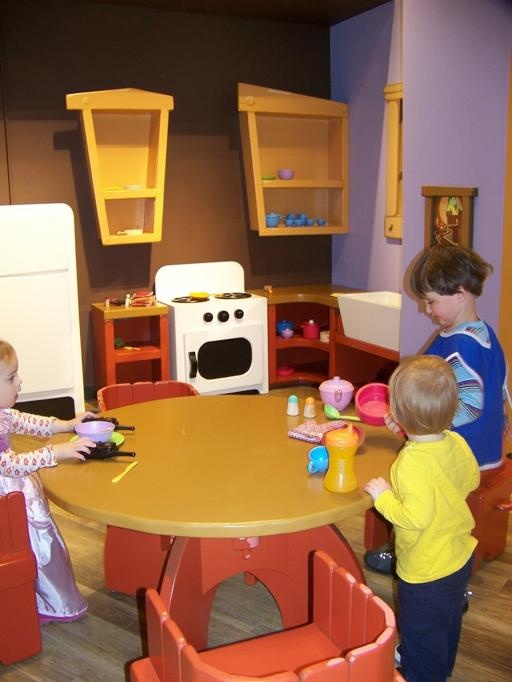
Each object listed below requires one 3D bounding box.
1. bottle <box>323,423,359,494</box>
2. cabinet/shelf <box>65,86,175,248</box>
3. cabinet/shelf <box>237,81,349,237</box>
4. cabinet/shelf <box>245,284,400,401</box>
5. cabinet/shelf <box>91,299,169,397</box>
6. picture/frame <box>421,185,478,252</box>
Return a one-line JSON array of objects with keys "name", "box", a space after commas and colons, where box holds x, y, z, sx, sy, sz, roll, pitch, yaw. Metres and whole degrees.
[{"name": "bottle", "box": [0.170, 0.237, 1.161, 0.070, 0.119, 0.108, -2, 12, 7]}, {"name": "cabinet/shelf", "box": [-0.837, -1.083, 3.690, 0.604, 0.937, 0.415, -8, 13, -18]}, {"name": "cabinet/shelf", "box": [0.250, -1.349, 4.192, 1.147, 1.219, 0.360, -6, 17, -17]}, {"name": "cabinet/shelf", "box": [0.410, 0.019, 4.156, 0.867, 0.609, 0.850, -6, 11, -26]}, {"name": "cabinet/shelf", "box": [-0.792, 0.102, 3.800, 0.432, 0.571, 0.417, -5, 6, -16]}, {"name": "picture/frame", "box": [0.690, -0.438, 2.044, 0.239, 0.222, 0.084, -8, 13, -19]}]
